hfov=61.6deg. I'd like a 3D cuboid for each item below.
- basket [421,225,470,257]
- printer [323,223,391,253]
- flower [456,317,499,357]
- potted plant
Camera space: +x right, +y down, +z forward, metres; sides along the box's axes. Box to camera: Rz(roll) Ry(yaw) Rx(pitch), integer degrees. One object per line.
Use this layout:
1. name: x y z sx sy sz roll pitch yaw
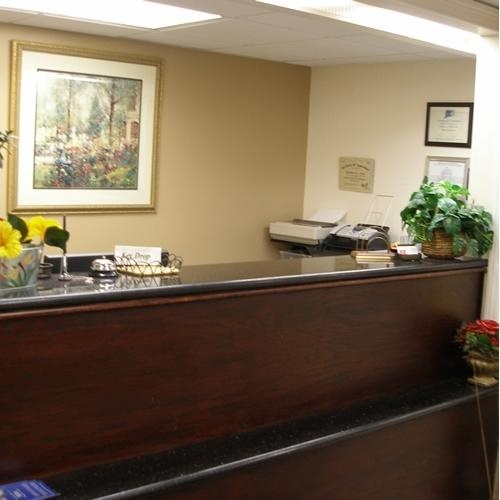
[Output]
1. basket: 1.068 -0.047 2.284 0.183 0.126 0.176 -1 2 -23
2. printer: 1.137 -0.088 4.178 0.543 0.290 0.739 -1 9 -20
3. flower: 1.166 0.443 2.176 0.191 0.160 0.185 -1 4 -2
4. potted plant: 1.138 -0.180 2.425 0.457 0.330 0.486 4 7 20
